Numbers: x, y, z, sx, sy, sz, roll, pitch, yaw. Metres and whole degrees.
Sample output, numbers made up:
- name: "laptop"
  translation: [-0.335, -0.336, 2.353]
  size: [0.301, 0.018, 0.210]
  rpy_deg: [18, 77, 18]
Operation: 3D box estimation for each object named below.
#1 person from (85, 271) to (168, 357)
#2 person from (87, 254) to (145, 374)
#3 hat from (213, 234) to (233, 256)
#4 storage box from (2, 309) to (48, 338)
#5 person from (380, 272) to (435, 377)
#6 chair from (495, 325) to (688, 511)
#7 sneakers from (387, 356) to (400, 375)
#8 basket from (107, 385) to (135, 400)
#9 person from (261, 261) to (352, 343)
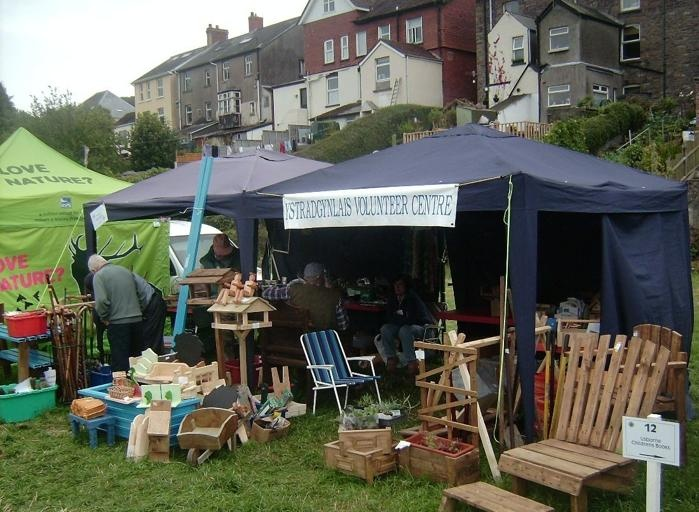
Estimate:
- name: "person"
  translation: [-3.427, 0.901, 11.814]
  size: [0.900, 1.819, 0.493]
  rpy_deg: [-12, 22, 2]
- name: "person"
  translation: [-3.422, 0.830, 11.475]
  size: [0.727, 1.315, 0.459]
  rpy_deg: [-2, -1, -23]
- name: "hat"
  translation: [-2.138, -0.262, 13.017]
  size: [0.250, 0.196, 0.369]
  rpy_deg: [-10, 44, -2]
- name: "storage box"
  translation: [-4.713, 0.920, 11.279]
  size: [0.509, 0.396, 0.371]
  rpy_deg: [-4, 4, -38]
- name: "person"
  translation: [0.905, 1.113, 12.024]
  size: [0.920, 1.704, 0.728]
  rpy_deg: [17, -31, -36]
- name: "chair"
  translation: [2.695, 1.691, 8.570]
  size: [2.017, 1.975, 1.347]
  rpy_deg: [-3, 3, -42]
- name: "sneakers"
  translation: [0.721, 1.699, 12.209]
  size: [0.174, 0.244, 0.507]
  rpy_deg: [-2, -1, 16]
- name: "basket"
  translation: [-2.980, 1.768, 10.148]
  size: [0.387, 0.141, 0.222]
  rpy_deg: [-3, -1, 39]
- name: "person"
  translation: [-0.235, 0.655, 11.995]
  size: [1.431, 0.984, 2.710]
  rpy_deg: [7, -7, 5]
